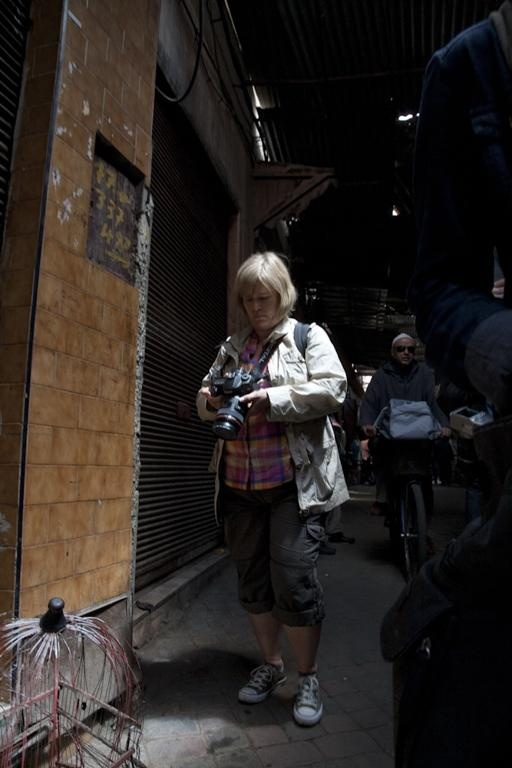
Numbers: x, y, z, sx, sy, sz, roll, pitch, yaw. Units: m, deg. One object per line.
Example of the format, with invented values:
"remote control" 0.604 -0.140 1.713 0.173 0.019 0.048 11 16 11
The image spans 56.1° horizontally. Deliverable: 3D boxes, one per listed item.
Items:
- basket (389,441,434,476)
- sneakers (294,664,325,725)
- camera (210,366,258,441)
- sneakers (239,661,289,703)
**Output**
"basket" 1.228 0.614 3.808 0.293 0.364 0.266 1 8 16
"sneakers" 0.229 1.386 2.081 0.107 0.162 0.362 -1 -23 6
"camera" -0.106 0.117 1.947 0.150 0.116 0.294 4 44 16
"sneakers" 0.028 1.429 2.261 0.084 0.126 0.273 -6 -19 26
